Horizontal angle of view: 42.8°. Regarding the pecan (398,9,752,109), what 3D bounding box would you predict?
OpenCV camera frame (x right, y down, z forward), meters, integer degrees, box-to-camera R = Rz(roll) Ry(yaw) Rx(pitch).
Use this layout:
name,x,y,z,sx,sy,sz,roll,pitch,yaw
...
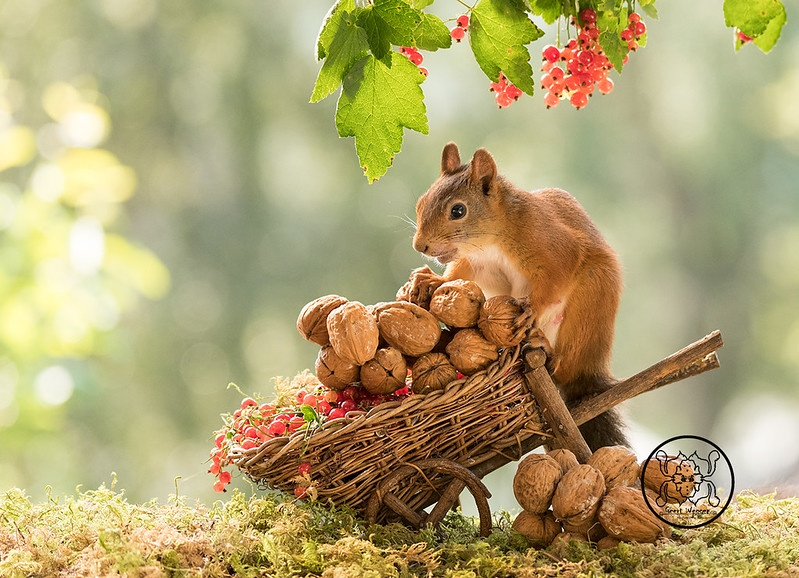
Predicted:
name,x,y,z,sx,sy,sz,roll,pitch,yaw
pecan,0.555,-0.817,3.679,0.817,0.504,0.565,-7,15,-33

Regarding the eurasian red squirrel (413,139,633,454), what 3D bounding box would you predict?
name,x,y,z,sx,sy,sz,roll,pitch,yaw
eurasian red squirrel,0.448,-0.032,4.394,1.386,0.913,0.660,36,-14,-27

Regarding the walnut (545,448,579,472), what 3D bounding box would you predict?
name,x,y,z,sx,sy,sz,roll,pitch,yaw
walnut,0.626,0.638,3.861,0.071,0.062,0.096,-20,34,1

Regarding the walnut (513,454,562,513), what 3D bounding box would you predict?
name,x,y,z,sx,sy,sz,roll,pitch,yaw
walnut,0.526,0.703,3.900,0.148,0.231,0.183,14,18,17

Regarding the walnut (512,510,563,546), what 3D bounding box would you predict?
name,x,y,z,sx,sy,sz,roll,pitch,yaw
walnut,0.526,0.891,3.839,0.134,0.129,0.090,4,52,26

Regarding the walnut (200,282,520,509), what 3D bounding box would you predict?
name,x,y,z,sx,sy,sz,roll,pitch,yaw
walnut,-0.129,0.347,3.976,1.217,0.671,0.393,-7,11,-8
